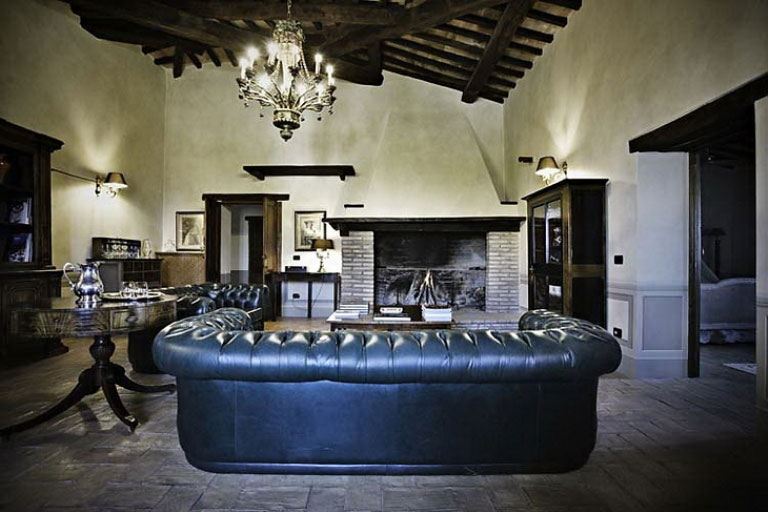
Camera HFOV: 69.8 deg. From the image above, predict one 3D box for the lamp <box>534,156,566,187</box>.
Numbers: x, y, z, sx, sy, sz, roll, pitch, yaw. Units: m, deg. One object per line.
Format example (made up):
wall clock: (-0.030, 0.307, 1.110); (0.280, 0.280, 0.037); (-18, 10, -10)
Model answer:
lamp: (2.433, -1.244, 8.128); (0.389, 0.364, 0.364); (3, 1, 9)

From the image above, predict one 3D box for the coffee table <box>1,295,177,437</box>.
coffee table: (-3.040, 1.121, 6.149); (1.304, 1.064, 1.379); (1, 7, -9)

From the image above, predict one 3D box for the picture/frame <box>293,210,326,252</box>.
picture/frame: (-1.362, -0.477, 10.265); (0.714, 0.881, 0.059); (0, -1, -1)

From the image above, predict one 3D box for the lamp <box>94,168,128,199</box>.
lamp: (-4.472, -1.165, 9.059); (0.453, 0.439, 0.371); (-1, 1, 2)

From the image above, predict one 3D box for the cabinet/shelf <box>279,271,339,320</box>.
cabinet/shelf: (-1.362, 0.709, 10.116); (0.801, 0.730, 0.338); (0, -4, 0)

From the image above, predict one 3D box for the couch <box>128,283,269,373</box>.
couch: (-2.344, 1.161, 6.996); (0.937, 0.911, 1.791); (1, 2, 0)

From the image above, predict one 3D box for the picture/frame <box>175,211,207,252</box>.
picture/frame: (-3.602, -0.467, 10.372); (0.707, 0.900, 0.088); (0, -2, -5)

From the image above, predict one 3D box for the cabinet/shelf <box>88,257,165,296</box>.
cabinet/shelf: (-4.197, 0.386, 9.243); (0.394, 0.758, 1.259); (3, 3, 7)

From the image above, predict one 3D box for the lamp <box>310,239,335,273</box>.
lamp: (-1.129, -0.007, 10.123); (0.504, 0.756, 0.545); (0, -6, -1)
